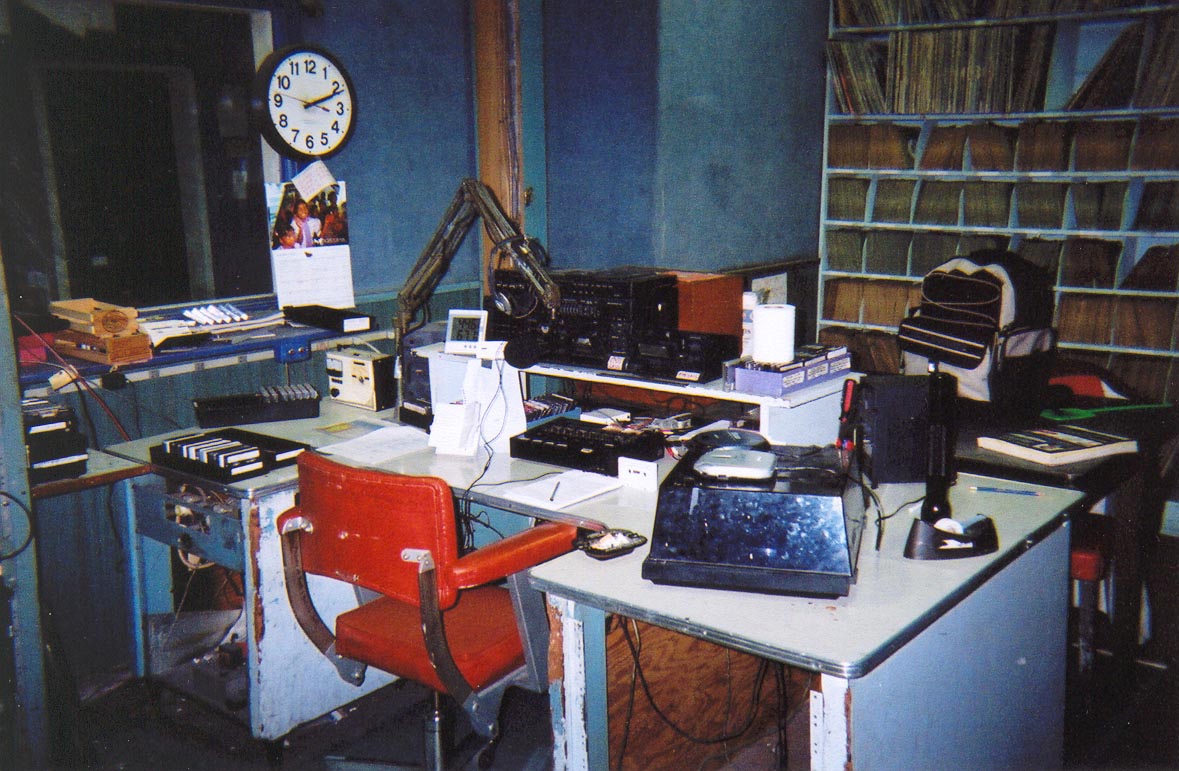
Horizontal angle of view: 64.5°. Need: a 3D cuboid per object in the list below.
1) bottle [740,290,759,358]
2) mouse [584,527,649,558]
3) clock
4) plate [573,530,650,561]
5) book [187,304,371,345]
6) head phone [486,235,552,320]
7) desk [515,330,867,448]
[{"bbox_3d":[0.643,-0.249,3.736,0.061,0.253,0.212,4,14,10],"label":"bottle"},{"bbox_3d":[0.082,0.531,3.176,0.135,0.028,0.105,-9,18,-26],"label":"mouse"},{"bbox_3d":[-1.329,-1.314,4.361,0.139,0.498,0.517,14,17,35],"label":"clock"},{"bbox_3d":[0.077,0.531,3.176,0.149,0.030,0.112,-11,19,-34],"label":"plate"},{"bbox_3d":[-1.413,-0.297,4.311,0.840,0.156,0.260,-4,14,-23],"label":"book"},{"bbox_3d":[-0.234,-0.442,3.823,0.116,0.266,0.345,-12,44,-42],"label":"head phone"},{"bbox_3d":[0.326,0.141,4.042,1.173,0.265,0.630,3,-12,18],"label":"desk"}]
